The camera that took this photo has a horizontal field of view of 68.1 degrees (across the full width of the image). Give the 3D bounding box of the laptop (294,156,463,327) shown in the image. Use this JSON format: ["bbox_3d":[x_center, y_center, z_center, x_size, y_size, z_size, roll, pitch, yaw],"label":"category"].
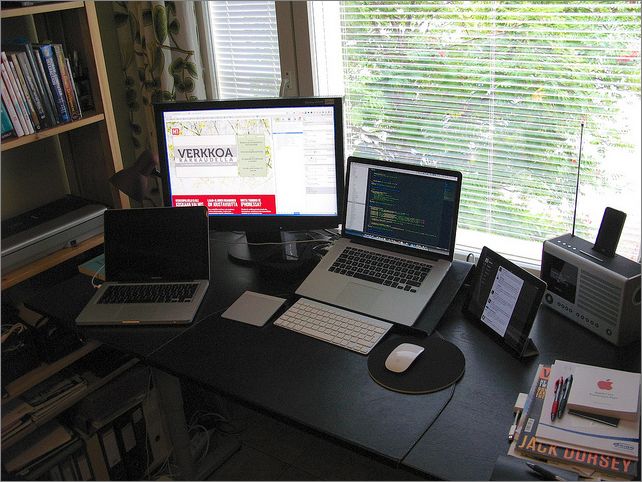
[{"bbox_3d":[0.254,0.036,1.717,0.570,0.395,0.572,18,46,28],"label":"laptop"}]

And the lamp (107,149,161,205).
[{"bbox_3d":[-0.669,-0.232,1.709,0.173,0.164,0.085,-14,31,-22],"label":"lamp"}]

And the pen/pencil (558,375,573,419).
[{"bbox_3d":[0.596,0.384,1.153,0.018,0.010,0.110,9,36,14],"label":"pen/pencil"}]

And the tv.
[{"bbox_3d":[-0.271,-0.226,1.756,0.652,0.522,0.249,0,16,4],"label":"tv"}]

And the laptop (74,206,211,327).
[{"bbox_3d":[-0.563,0.161,1.719,0.489,0.347,0.384,0,33,4],"label":"laptop"}]

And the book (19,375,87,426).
[{"bbox_3d":[-1.062,0.630,1.898,0.150,0.039,0.155,6,21,30],"label":"book"}]
